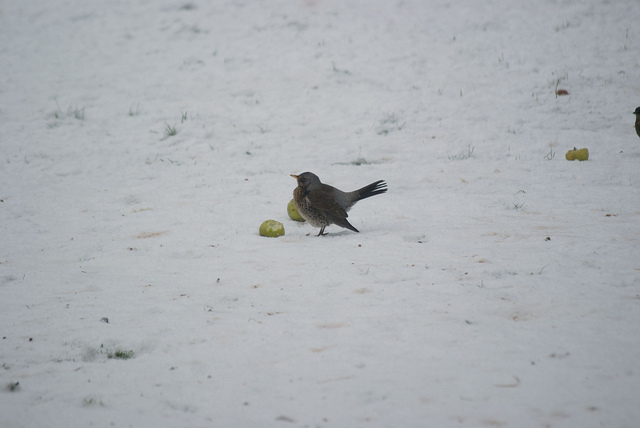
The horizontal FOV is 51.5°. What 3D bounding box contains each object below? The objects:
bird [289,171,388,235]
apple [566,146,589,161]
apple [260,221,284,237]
[{"bbox_3d":[0.380,-0.181,13.981,2.033,0.816,1.290,3,88,-20],"label":"bird"},{"bbox_3d":[6.105,-1.421,15.679,0.311,0.403,0.187,-2,86,5],"label":"apple"},{"bbox_3d":[-0.973,0.298,13.584,0.487,0.147,0.321,-2,80,0],"label":"apple"}]
